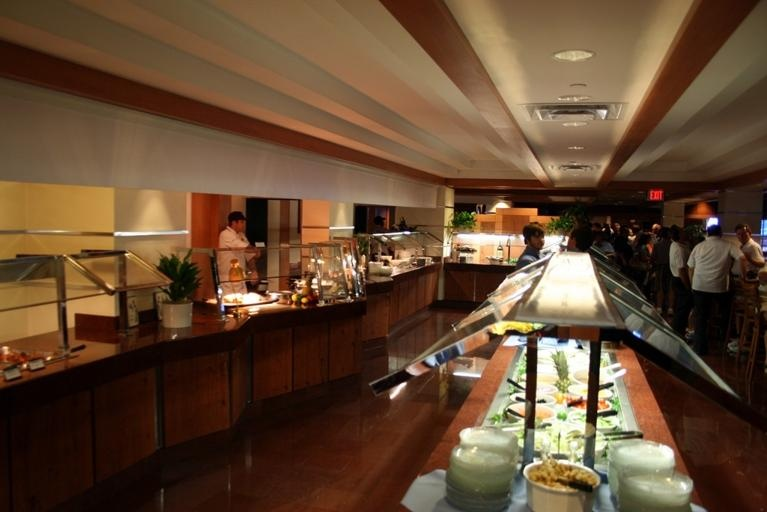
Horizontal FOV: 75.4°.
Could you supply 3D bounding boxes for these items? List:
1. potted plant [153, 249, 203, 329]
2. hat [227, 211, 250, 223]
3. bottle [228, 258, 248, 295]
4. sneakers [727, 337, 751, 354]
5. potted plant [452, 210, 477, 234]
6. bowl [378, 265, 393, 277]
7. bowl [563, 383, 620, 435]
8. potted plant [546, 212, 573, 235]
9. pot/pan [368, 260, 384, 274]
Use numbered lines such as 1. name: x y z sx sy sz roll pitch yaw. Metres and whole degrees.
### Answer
1. potted plant: -2.045 0.331 5.003 0.396 0.748 0.749 -2 7 -21
2. hat: -1.988 -0.553 7.013 0.344 0.182 0.248 -8 7 -33
3. bottle: -1.627 0.239 5.614 0.143 0.411 0.372 2 6 11
4. sneakers: 5.485 1.405 7.655 0.315 0.140 0.190 -29 27 1
5. potted plant: 2.104 -0.879 13.011 0.539 0.433 0.601 1 5 6
6. bowl: 0.085 0.307 9.038 0.152 0.167 0.291 6 8 42
7. bowl: 1.297 0.939 3.027 0.369 0.137 0.351 -5 9 1
8. potted plant: 5.066 -0.949 14.038 0.670 0.459 0.657 -19 15 -42
9. pot/pan: -0.118 0.221 9.096 0.202 0.176 0.247 4 9 16
